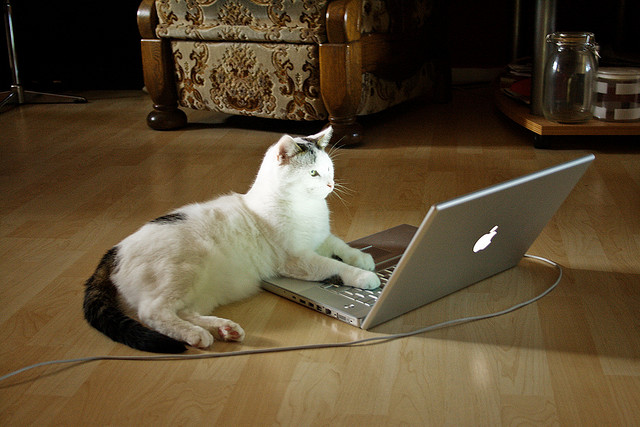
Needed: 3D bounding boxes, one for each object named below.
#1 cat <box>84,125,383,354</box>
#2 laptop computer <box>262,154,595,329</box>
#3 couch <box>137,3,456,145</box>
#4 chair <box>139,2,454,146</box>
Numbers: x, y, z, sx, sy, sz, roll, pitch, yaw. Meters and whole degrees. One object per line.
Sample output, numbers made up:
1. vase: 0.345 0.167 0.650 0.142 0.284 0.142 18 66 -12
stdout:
1. cat: -0.220 0.100 1.086 0.558 0.397 0.567 -2 9 31
2. laptop computer: 0.253 0.069 1.027 0.555 0.281 0.504 -25 29 -27
3. couch: -0.051 -0.787 2.512 1.029 0.880 1.063 6 13 29
4. chair: -0.030 -0.574 2.594 1.048 0.906 1.087 5 14 29
